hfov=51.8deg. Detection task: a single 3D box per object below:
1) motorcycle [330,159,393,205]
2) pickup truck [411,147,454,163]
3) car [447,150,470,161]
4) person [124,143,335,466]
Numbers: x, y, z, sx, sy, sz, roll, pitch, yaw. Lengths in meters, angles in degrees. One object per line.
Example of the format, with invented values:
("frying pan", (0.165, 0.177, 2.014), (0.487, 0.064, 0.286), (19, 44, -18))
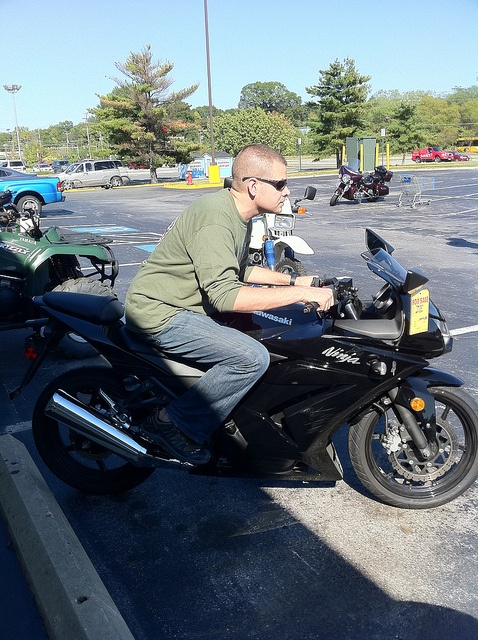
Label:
("motorcycle", (4.908, -5.352, 19.674), (2.864, 1.423, 1.118), (-13, 34, -25))
("pickup truck", (21.391, -18.347, 54.711), (3.728, 1.248, 1.855), (11, 23, 35))
("car", (24.391, -18.296, 54.767), (0.955, 1.090, 3.976), (5, 11, 38))
("person", (-0.098, -0.029, 2.160), (0.868, 1.452, 0.482), (-2, 9, -3))
